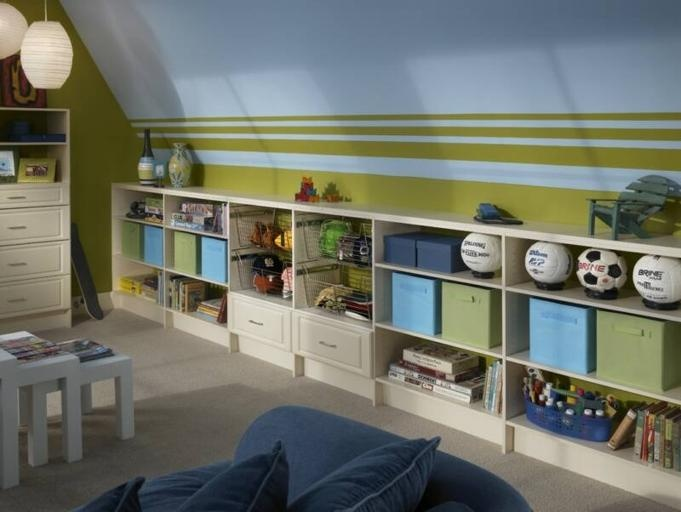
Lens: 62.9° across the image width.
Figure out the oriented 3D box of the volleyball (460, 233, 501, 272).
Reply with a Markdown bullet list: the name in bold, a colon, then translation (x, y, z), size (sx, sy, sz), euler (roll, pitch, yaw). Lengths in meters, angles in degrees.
- **volleyball**: translation (0.813, -0.055, 3.284), size (0.227, 0.265, 0.218), euler (10, 14, 42)

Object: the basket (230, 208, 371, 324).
- **basket**: translation (-0.296, 0.101, 4.279), size (0.913, 0.481, 0.275), euler (6, 4, 44)

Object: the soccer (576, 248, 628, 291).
- **soccer**: translation (1.330, 0.096, 2.866), size (0.212, 0.250, 0.227), euler (-8, -10, 30)

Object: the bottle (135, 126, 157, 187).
- **bottle**: translation (-1.943, -0.999, 5.582), size (0.156, 0.539, 0.407), euler (-4, 12, -18)

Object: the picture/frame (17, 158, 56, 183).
- **picture/frame**: translation (-2.796, -0.785, 5.130), size (0.259, 0.244, 0.063), euler (-1, -10, 21)
